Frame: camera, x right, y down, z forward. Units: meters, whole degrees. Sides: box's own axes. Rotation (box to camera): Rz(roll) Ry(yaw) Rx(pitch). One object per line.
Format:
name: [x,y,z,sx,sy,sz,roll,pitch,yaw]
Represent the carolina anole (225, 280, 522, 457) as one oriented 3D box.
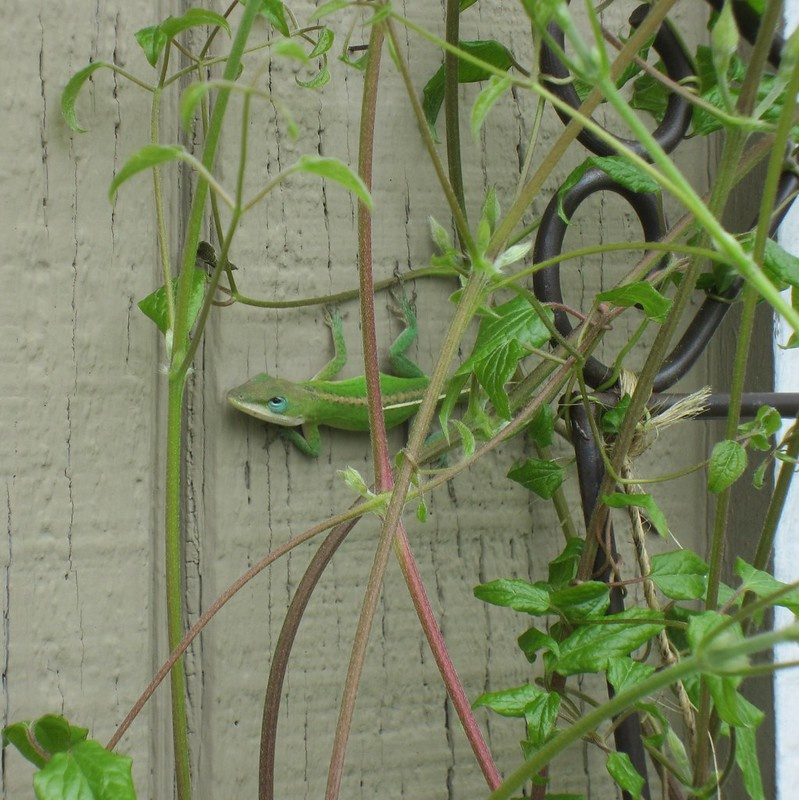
carolina anole: [-0.040,-0.018,1.676,0.192,0.213,0.405,-10,-17,32]
